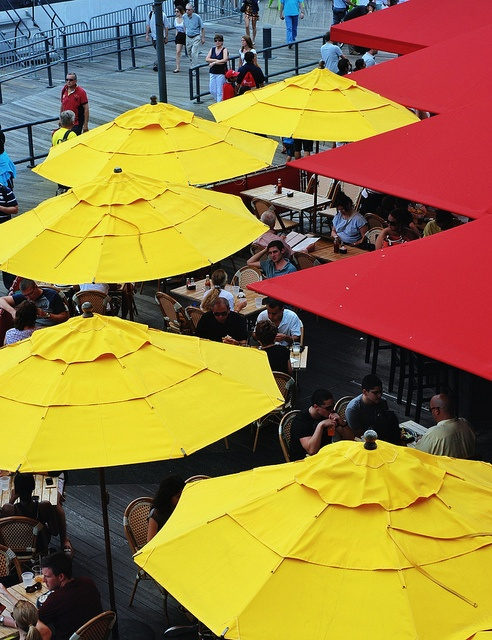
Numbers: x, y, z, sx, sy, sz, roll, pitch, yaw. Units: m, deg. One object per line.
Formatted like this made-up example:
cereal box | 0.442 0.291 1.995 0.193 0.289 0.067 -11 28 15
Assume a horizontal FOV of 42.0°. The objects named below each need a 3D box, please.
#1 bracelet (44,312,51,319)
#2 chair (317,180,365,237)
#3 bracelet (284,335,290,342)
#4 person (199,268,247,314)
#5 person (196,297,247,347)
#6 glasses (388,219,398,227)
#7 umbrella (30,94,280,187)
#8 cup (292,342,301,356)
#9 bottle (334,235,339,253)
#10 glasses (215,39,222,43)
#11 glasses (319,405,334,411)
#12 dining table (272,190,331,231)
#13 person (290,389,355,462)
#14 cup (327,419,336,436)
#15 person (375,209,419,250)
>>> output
bracelet | -2.676 -0.056 8.551 0.088 0.053 0.090 2 -4 18
chair | 1.983 -2.429 13.631 0.911 1.394 1.124 17 37 27
bracelet | 0.557 0.259 8.703 0.032 0.084 0.066 -2 -9 -38
person | -0.334 -0.318 9.593 0.672 0.720 0.606 1 -12 0
person | -0.326 0.036 8.362 0.637 0.804 0.442 -1 48 -1
glasses | 2.480 -1.612 10.672 0.134 0.123 0.045 14 1 42
umbrella | -1.518 -2.801 10.519 2.662 0.783 2.478 4 26 13
cup | 0.659 0.388 8.500 0.139 0.128 0.131 1 -1 0
bottle | 1.617 -1.319 11.335 0.090 0.240 0.214 1 10 8
glasses | -0.805 -7.957 18.187 0.189 0.103 0.267 -2 9 -8
glasses | 0.840 0.892 6.491 0.087 0.027 0.082 12 1 14
dining table | 1.170 -2.442 13.160 0.844 0.591 1.229 -33 45 -28
person | 0.724 1.020 6.157 0.489 0.805 0.413 32 55 29
cup | 0.850 1.091 6.373 0.106 0.140 0.153 -1 12 1
person | 2.531 -1.541 10.665 0.491 0.609 0.965 5 11 32
